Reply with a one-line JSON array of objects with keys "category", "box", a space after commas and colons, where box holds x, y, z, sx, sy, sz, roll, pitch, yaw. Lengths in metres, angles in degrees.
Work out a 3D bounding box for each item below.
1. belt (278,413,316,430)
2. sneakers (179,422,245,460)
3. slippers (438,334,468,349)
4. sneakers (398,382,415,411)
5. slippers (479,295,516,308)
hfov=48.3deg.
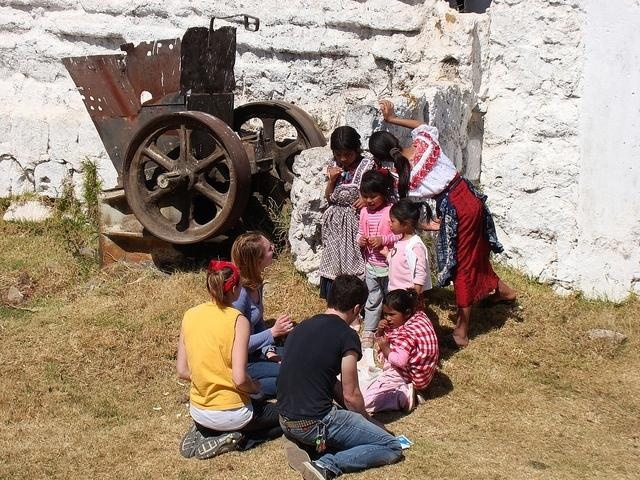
[{"category": "belt", "box": [-0.178, 1.463, 5.683, 0.187, 0.089, 0.148, 1, 3, -13]}, {"category": "sneakers", "box": [-0.915, 1.694, 5.893, 0.384, 0.283, 0.184, -4, -12, 16]}, {"category": "slippers", "box": [1.334, 1.030, 7.143, 0.265, 0.087, 0.121, 8, 6, -16]}, {"category": "sneakers", "box": [0.793, 1.393, 6.340, 0.077, 0.286, 0.109, -2, -29, 9]}, {"category": "slippers", "box": [1.913, 0.640, 7.701, 0.368, 0.122, 0.154, 1, 24, 8]}]
